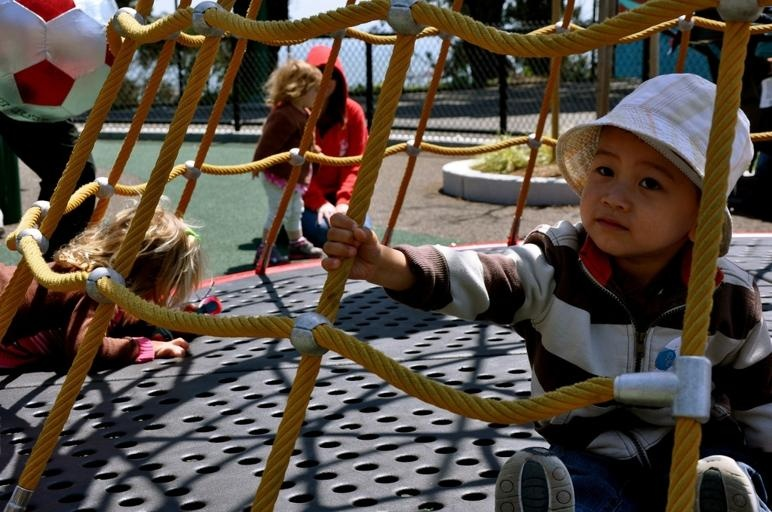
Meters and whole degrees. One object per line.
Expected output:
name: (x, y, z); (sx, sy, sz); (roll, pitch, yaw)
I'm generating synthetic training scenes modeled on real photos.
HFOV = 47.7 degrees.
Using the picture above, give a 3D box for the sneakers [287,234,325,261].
sneakers: (-0.440, -0.044, 4.720); (0.269, 0.175, 0.129); (-3, 7, -1)

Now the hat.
hat: (0.627, -0.331, 2.067); (0.455, 0.429, 0.294); (30, 61, 25)
